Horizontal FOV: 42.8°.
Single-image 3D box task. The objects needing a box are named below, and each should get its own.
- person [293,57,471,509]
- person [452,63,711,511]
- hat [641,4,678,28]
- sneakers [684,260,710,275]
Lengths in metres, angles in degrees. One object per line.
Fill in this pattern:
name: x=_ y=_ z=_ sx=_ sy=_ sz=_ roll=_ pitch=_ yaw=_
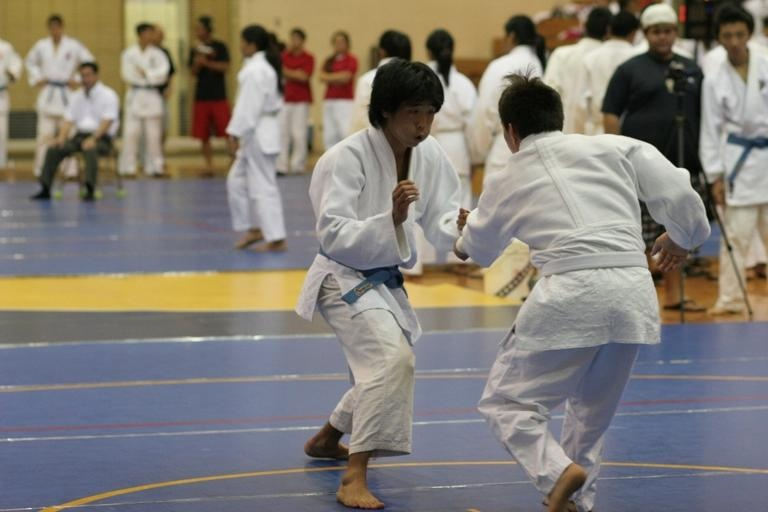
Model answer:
person: x=-0.069 y=0.078 z=4.393 sx=0.693 sy=1.871 sz=0.940 roll=4 pitch=15 yaw=14
person: x=0.801 y=0.175 z=4.092 sx=0.994 sy=1.796 sz=0.745 roll=1 pitch=15 yaw=2
hat: x=1.861 y=-1.628 z=6.689 sx=0.182 sy=0.128 sz=0.181 roll=-5 pitch=9 yaw=-1
sneakers: x=2.645 y=0.098 z=8.345 sx=0.213 sy=0.105 sz=0.208 roll=-5 pitch=-1 yaw=-26
